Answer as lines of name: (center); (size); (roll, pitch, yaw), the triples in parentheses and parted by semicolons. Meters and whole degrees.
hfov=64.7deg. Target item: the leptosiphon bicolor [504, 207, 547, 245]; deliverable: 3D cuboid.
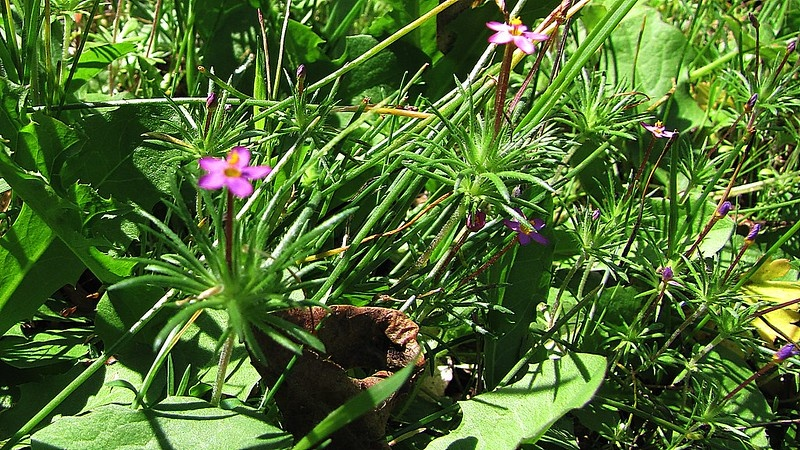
leptosiphon bicolor: (0.382, 0.003, 1.914); (0.117, 0.058, 0.119); (12, 40, -19)

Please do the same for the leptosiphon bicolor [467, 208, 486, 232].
leptosiphon bicolor: (0.233, -0.018, 1.936); (0.063, 0.058, 0.026); (-11, 38, 12)

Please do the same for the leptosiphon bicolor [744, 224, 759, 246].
leptosiphon bicolor: (1.225, 0.034, 2.199); (0.025, 0.084, 0.031); (34, -11, -9)

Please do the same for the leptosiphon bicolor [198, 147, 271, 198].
leptosiphon bicolor: (-0.386, -0.120, 1.439); (0.133, 0.068, 0.136); (16, 48, 9)
